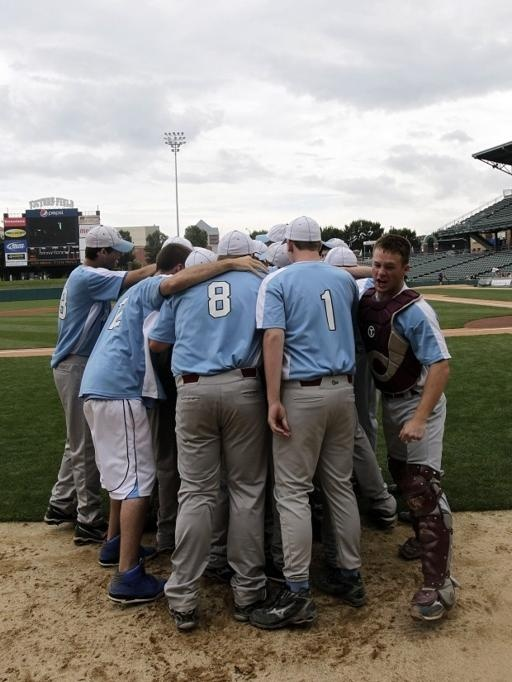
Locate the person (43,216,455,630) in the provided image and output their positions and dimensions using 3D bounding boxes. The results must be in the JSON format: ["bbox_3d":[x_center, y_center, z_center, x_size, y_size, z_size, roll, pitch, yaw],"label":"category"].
[{"bbox_3d":[0.485,0.322,3.068,0.942,1.900,0.986,-1,8,9],"label":"person"}]

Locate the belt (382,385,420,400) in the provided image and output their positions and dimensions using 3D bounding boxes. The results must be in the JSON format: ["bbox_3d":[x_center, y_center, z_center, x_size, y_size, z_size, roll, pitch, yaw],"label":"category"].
[{"bbox_3d":[0.761,0.267,3.213,0.135,0.048,0.099,-2,0,12],"label":"belt"}]

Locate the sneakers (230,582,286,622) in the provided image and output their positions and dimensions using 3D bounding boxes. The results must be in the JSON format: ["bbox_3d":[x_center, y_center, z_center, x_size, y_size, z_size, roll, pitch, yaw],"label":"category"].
[{"bbox_3d":[0.022,1.294,3.030,0.117,0.136,0.336,13,-8,26],"label":"sneakers"}]

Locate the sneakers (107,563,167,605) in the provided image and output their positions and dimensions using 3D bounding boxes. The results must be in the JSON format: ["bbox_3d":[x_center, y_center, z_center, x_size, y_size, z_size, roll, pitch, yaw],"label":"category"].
[{"bbox_3d":[-0.587,1.206,3.067,0.123,0.169,0.352,-1,-8,42],"label":"sneakers"}]

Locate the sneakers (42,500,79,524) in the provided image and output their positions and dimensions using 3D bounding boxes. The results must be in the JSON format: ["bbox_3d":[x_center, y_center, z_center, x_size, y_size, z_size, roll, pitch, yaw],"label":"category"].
[{"bbox_3d":[-1.260,1.133,4.038,0.279,0.134,0.098,0,1,-30],"label":"sneakers"}]

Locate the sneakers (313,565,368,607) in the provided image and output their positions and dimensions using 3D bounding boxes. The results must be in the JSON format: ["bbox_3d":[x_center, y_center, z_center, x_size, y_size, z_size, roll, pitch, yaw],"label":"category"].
[{"bbox_3d":[0.432,1.201,3.057,0.115,0.126,0.291,-4,6,-31],"label":"sneakers"}]

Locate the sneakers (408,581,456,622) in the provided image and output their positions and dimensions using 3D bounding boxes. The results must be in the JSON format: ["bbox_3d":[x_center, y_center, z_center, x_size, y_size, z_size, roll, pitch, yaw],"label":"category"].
[{"bbox_3d":[0.779,1.150,2.680,0.109,0.130,0.303,-16,-27,35],"label":"sneakers"}]

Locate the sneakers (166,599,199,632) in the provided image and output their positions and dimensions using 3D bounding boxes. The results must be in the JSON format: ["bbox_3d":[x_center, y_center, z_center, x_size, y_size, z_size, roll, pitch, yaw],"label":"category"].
[{"bbox_3d":[-0.340,1.266,2.847,0.130,0.107,0.213,-3,7,-9],"label":"sneakers"}]

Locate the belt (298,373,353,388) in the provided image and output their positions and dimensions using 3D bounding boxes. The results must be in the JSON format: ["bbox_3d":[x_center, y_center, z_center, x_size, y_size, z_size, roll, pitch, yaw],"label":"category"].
[{"bbox_3d":[0.354,0.195,2.975,0.307,0.062,0.063,-6,8,-30],"label":"belt"}]

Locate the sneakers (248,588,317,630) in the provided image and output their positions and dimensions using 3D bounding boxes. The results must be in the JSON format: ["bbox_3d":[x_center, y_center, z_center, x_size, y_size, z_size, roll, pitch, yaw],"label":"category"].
[{"bbox_3d":[0.130,1.217,2.824,0.335,0.158,0.133,-5,3,-1],"label":"sneakers"}]

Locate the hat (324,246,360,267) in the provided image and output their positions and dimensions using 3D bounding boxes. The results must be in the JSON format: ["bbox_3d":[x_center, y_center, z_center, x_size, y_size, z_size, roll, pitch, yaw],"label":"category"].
[{"bbox_3d":[0.616,-0.591,4.380,0.216,0.159,0.317,2,11,2],"label":"hat"}]

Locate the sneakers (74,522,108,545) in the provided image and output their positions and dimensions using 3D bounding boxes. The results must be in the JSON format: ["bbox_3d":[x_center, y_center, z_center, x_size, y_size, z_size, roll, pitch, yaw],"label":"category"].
[{"bbox_3d":[-1.018,1.174,3.722,0.268,0.122,0.092,0,-2,-17],"label":"sneakers"}]
